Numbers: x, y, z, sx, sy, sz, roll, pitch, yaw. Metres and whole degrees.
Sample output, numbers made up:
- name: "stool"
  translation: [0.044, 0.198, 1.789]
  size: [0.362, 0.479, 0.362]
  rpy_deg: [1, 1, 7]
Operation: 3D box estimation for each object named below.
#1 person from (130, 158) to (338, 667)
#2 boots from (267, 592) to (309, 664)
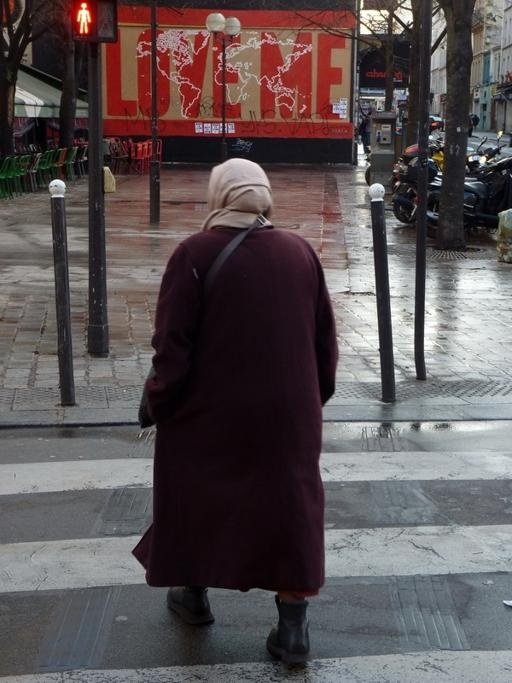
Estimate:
- name: "person"
  translation: [-0.074, 0.206, 1.947]
  size: [0.595, 1.449, 0.356]
  rpy_deg: [1, 7, 5]
- name: "boots"
  translation: [0.088, 0.839, 2.015]
  size: [0.094, 0.166, 0.186]
  rpy_deg: [1, -5, -24]
